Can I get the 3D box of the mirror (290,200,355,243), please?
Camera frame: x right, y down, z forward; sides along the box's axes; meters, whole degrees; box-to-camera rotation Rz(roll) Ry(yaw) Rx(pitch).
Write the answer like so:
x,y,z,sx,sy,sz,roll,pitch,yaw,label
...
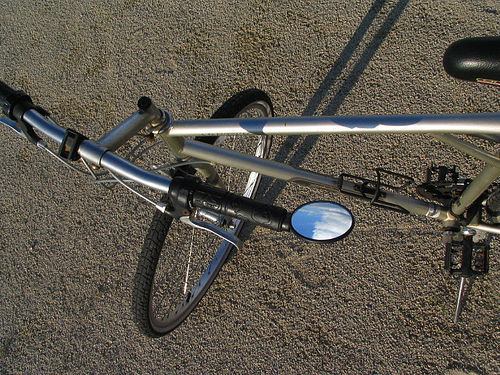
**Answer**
x,y,z,sx,sy,sz,roll,pitch,yaw,label
0.346,0.153,2.513,0.307,0.108,0.241,8,65,3,mirror
